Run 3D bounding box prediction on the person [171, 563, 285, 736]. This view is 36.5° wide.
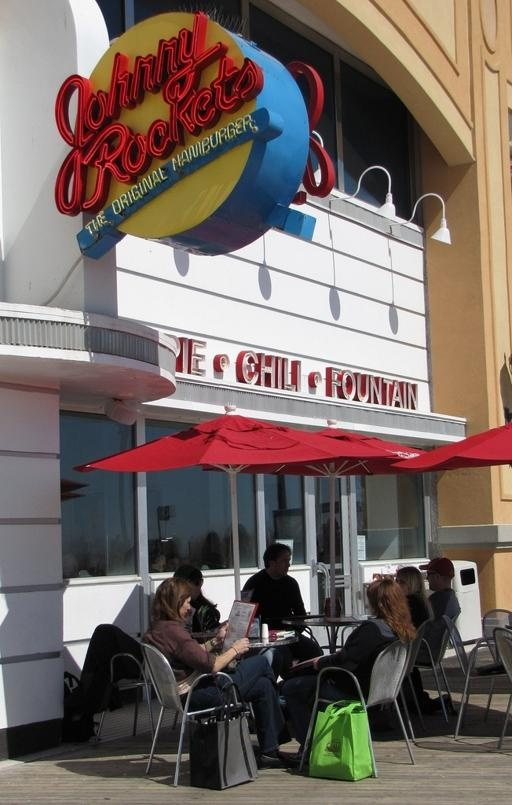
[{"bbox_3d":[-0.206,1.548,5.802,0.736,1.297,0.665,-1,2,8],"label":"person"}]

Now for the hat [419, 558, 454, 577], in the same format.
[{"bbox_3d":[1.629,1.485,7.005,0.264,0.154,0.189,5,-2,29],"label":"hat"}]

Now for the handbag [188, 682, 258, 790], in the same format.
[{"bbox_3d":[-0.215,1.826,4.260,0.369,0.518,0.393,-4,-11,8],"label":"handbag"}]

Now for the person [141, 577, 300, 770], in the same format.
[{"bbox_3d":[-0.227,1.622,4.589,0.763,1.154,0.484,-4,-12,-20],"label":"person"}]

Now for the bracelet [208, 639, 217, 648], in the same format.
[{"bbox_3d":[-0.277,1.526,4.910,0.048,0.057,0.019,-16,-12,-1],"label":"bracelet"}]

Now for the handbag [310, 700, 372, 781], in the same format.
[{"bbox_3d":[0.470,1.883,4.277,0.312,0.404,0.215,-6,-20,30],"label":"handbag"}]

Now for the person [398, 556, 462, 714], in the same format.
[{"bbox_3d":[1.298,1.920,6.481,0.457,1.298,0.557,-7,10,-32],"label":"person"}]

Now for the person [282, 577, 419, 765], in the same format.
[{"bbox_3d":[0.541,1.669,4.824,0.795,1.190,0.544,-2,-16,33],"label":"person"}]

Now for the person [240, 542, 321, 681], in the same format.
[{"bbox_3d":[0.210,1.998,6.973,0.614,1.427,0.734,3,-6,-28],"label":"person"}]

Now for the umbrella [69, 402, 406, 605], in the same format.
[{"bbox_3d":[-0.288,0.316,5.804,2.006,1.349,2.060,3,3,38],"label":"umbrella"}]
